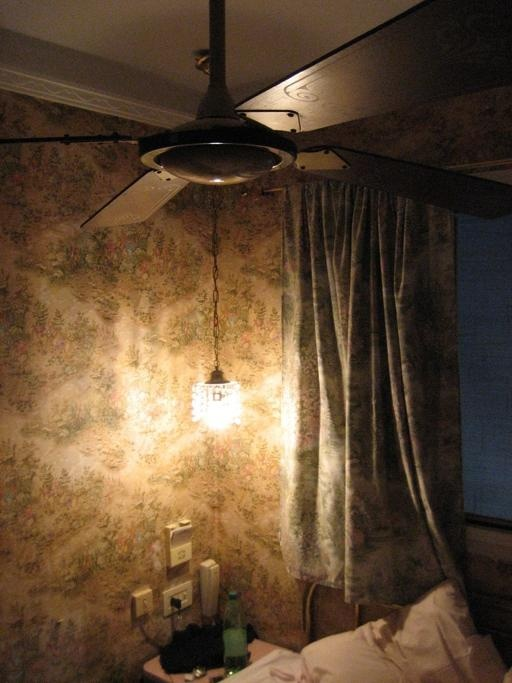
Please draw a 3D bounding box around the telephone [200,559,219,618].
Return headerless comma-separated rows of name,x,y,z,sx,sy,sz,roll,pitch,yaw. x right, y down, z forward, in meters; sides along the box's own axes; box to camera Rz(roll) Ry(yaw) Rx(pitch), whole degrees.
telephone,-0.196,1.038,2.608,0.081,0.226,0.101,-1,-11,-7
